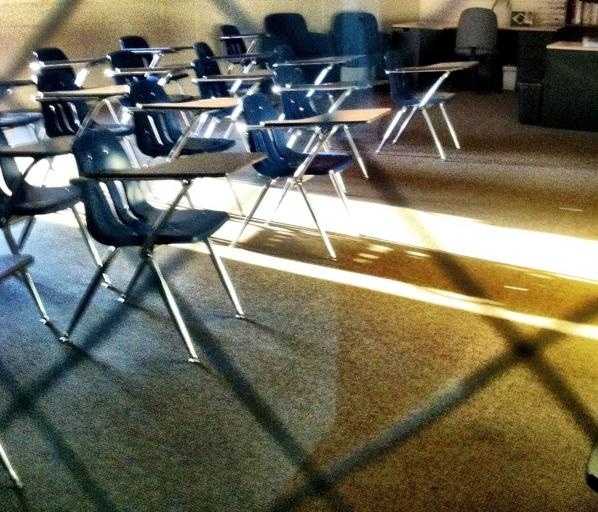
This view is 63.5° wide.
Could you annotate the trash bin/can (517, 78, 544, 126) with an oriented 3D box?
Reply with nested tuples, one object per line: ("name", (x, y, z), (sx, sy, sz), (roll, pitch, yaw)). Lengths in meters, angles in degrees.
("trash bin/can", (2.724, -1.803, 5.708), (0.280, 0.473, 0.249), (6, 31, 21))
